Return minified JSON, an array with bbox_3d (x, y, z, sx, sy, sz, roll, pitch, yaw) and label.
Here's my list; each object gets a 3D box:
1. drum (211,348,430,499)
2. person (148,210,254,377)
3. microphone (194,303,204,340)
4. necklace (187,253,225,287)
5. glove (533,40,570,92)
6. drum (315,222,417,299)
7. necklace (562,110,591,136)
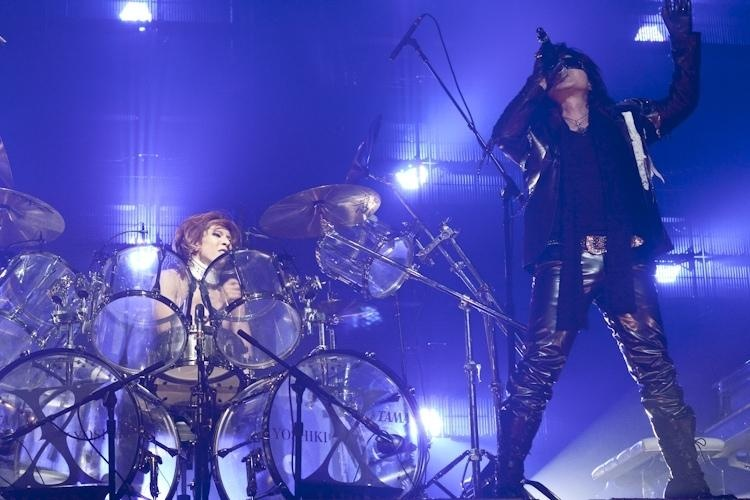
[{"bbox_3d":[-0.411,1.195,4.670,0.843,0.855,0.515,-15,-6,-31],"label":"drum"},{"bbox_3d":[-1.428,0.338,5.884,0.611,1.445,0.580,-5,-17,-30],"label":"person"},{"bbox_3d":[-1.244,0.501,4.921,0.082,0.242,0.143,7,-46,-14],"label":"microphone"},{"bbox_3d":[-1.366,0.128,5.562,0.147,0.216,0.286,15,-69,-31],"label":"necklace"},{"bbox_3d":[1.156,-1.228,4.745,0.234,0.164,0.326,-40,-49,-27],"label":"glove"},{"bbox_3d":[-0.076,0.093,5.959,0.692,0.734,0.704,-9,-68,-49],"label":"drum"},{"bbox_3d":[1.357,-0.854,4.706,0.139,0.148,0.045,15,-35,-2],"label":"necklace"}]
